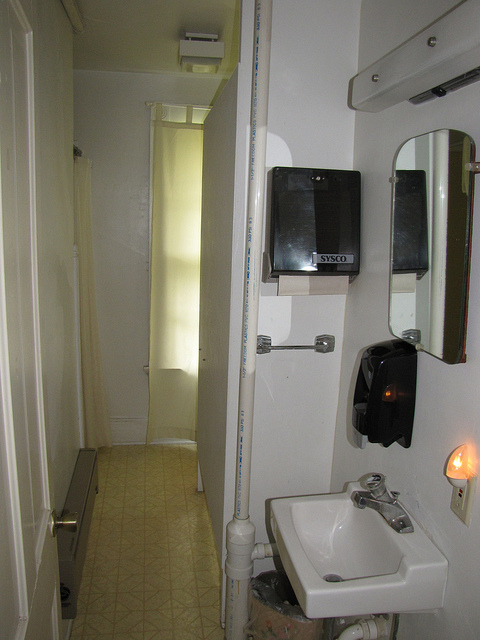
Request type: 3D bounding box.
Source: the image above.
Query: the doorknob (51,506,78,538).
[{"bbox_3d":[-0.415,0.468,1.200,0.051,0.112,0.093,1,-7,-13],"label":"doorknob"}]

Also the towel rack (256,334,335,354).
[{"bbox_3d":[0.222,0.095,1.985,0.325,0.077,0.045,-1,10,-17],"label":"towel rack"}]

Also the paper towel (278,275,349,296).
[{"bbox_3d":[0.272,-0.127,1.836,0.277,0.072,0.037,-1,9,-15],"label":"paper towel"}]

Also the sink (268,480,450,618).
[{"bbox_3d":[0.324,0.668,1.503,0.401,0.228,0.465,0,12,-11],"label":"sink"}]
